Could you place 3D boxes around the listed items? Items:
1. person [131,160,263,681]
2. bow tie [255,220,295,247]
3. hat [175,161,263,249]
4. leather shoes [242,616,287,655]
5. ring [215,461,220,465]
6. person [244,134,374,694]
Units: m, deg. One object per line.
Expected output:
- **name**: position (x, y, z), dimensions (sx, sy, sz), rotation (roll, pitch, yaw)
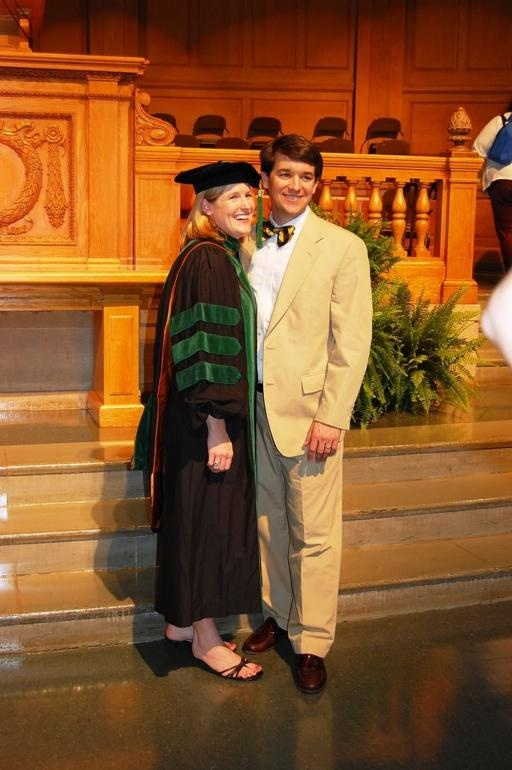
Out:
- **person**: position (-0.151, 0.156, 2.221), dimensions (0.379, 1.691, 0.537), rotation (-2, 7, -27)
- **bow tie**: position (0.065, -0.509, 2.273), dimensions (0.124, 0.092, 0.044), rotation (13, 11, 38)
- **hat**: position (-0.128, -0.574, 2.184), dimensions (0.260, 0.248, 0.233), rotation (5, 27, 3)
- **leather shoes**: position (0.035, 0.940, 2.556), dimensions (0.070, 0.069, 0.193), rotation (5, -1, 33)
- **ring**: position (-0.114, 0.231, 2.048), dimensions (0.011, 0.009, 0.003), rotation (2, 3, -9)
- **person**: position (0.166, 0.095, 2.348), dimensions (0.405, 1.819, 0.421), rotation (2, 6, 2)
